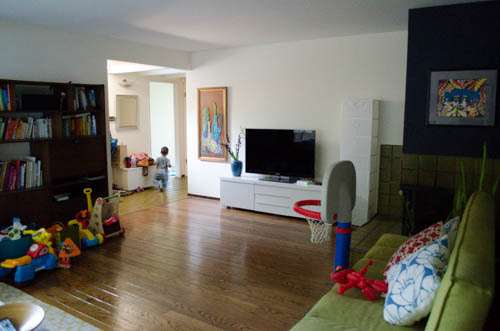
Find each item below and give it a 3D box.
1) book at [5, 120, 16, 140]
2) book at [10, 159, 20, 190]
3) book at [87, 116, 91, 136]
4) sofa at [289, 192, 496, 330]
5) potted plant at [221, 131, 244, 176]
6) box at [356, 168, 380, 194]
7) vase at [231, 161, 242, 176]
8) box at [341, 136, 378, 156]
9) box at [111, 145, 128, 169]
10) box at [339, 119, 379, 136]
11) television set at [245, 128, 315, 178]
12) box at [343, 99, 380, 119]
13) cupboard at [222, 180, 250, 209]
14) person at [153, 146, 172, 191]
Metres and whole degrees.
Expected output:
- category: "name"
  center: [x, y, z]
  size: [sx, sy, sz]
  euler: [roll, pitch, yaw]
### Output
- category: "book"
  center: [-3.668, -0.556, 5.184]
  size: [0.027, 0.282, 0.146]
  euler: [7, 14, 30]
- category: "book"
  center: [-3.672, 0.161, 5.286]
  size: [0.070, 0.511, 0.450]
  euler: [2, 0, -33]
- category: "book"
  center: [-2.869, -0.710, 6.021]
  size: [0.058, 0.247, 0.248]
  euler: [4, 18, -12]
- category: "sofa"
  center: [1.363, 0.935, 3.341]
  size: [1.184, 1.264, 1.879]
  euler: [5, 8, 34]
- category: "potted plant"
  center: [-0.337, -0.290, 7.303]
  size: [0.432, 0.867, 0.694]
  euler: [-4, 13, -16]
- category: "box"
  center: [2.064, 0.258, 5.962]
  size: [0.408, 0.393, 0.274]
  euler: [-8, 13, -42]
- category: "vase"
  center: [-0.271, 0.064, 7.041]
  size: [0.260, 0.310, 0.259]
  euler: [0, 0, -3]
- category: "box"
  center: [1.953, -0.358, 6.011]
  size: [0.614, 0.411, 0.336]
  euler: [6, 11, 32]
- category: "box"
  center: [-3.257, -0.218, 8.417]
  size: [0.365, 0.593, 0.237]
  euler: [-6, 13, -24]
- category: "box"
  center: [1.932, -0.671, 5.961]
  size: [0.611, 0.297, 0.258]
  euler: [2, 12, 12]
- category: "television set"
  center: [0.564, -0.263, 6.706]
  size: [1.469, 0.903, 0.174]
  euler: [6, 13, 27]
- category: "box"
  center: [1.952, -0.994, 5.952]
  size: [0.598, 0.407, 0.327]
  euler: [8, 14, 36]
- category: "cupboard"
  center: [-0.407, 0.619, 7.105]
  size: [0.818, 0.577, 0.477]
  euler: [8, -18, -37]
- category: "person"
  center: [-2.297, 0.063, 8.743]
  size: [0.439, 1.113, 0.569]
  euler: [-2, 12, -7]
